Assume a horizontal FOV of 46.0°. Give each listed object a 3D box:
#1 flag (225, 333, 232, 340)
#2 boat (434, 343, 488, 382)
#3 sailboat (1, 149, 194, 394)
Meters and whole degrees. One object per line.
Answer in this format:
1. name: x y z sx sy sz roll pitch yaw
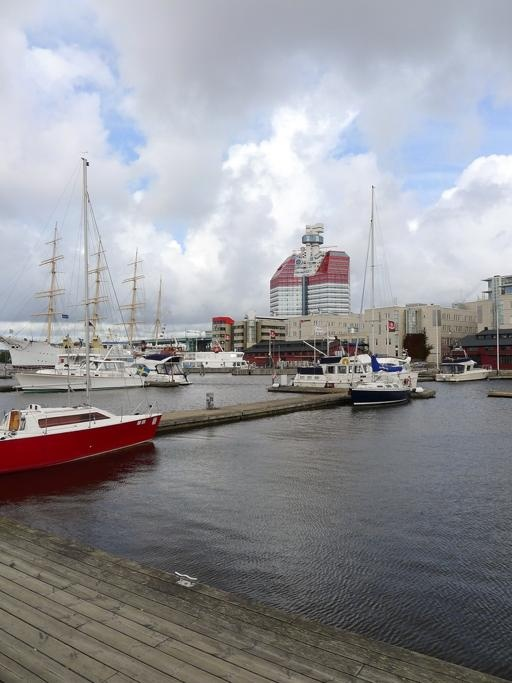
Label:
1. flag: -9.325 -1.692 200.552 2.458 2.039 0.409 0 4 4
2. boat: 36.112 3.672 104.612 8.451 4.959 7.240 -5 3 -41
3. sailboat: -18.483 1.398 68.895 19.586 22.763 4.757 -6 9 -37
